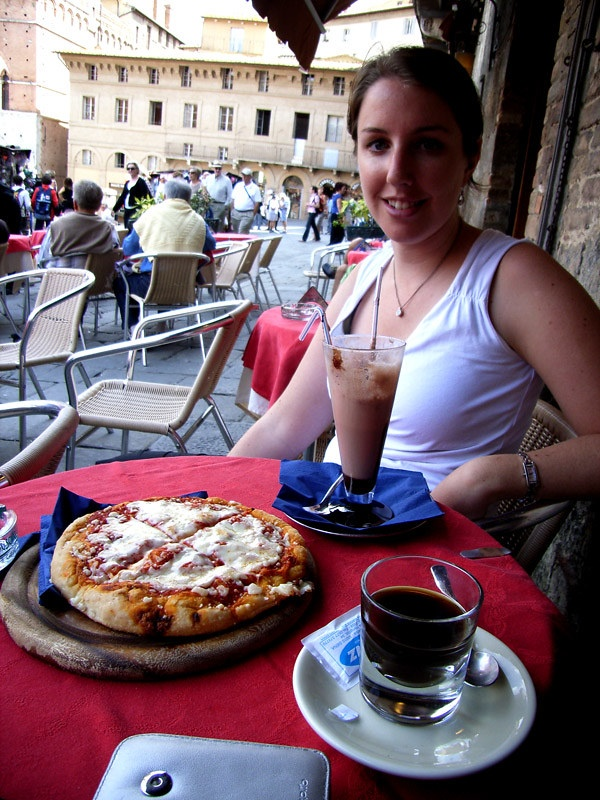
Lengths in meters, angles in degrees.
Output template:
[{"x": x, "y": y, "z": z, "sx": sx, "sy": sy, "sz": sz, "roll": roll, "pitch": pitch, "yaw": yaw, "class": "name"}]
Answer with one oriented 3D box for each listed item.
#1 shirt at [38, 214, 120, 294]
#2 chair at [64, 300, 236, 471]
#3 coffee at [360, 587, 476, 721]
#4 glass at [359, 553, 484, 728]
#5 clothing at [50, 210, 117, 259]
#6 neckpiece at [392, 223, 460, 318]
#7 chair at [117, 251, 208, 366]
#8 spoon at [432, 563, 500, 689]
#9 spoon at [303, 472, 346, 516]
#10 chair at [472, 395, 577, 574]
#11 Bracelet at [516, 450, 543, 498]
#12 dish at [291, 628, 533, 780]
[{"x": -2.114, "y": -1.490, "z": 5.604, "sx": 0.678, "sy": 0.747, "sz": 0.418, "roll": -7, "pitch": 45, "yaw": -26, "class": "shirt"}, {"x": -0.614, "y": -0.008, "z": 2.539, "sx": 0.709, "sy": 0.828, "sz": 0.645, "roll": 8, "pitch": 20, "yaw": 6, "class": "chair"}, {"x": 0.109, "y": 0.231, "z": 0.565, "sx": 0.098, "sy": 0.093, "sz": 0.112, "roll": 2, "pitch": 1, "yaw": 4, "class": "coffee"}, {"x": 0.103, "y": 0.230, "z": 0.588, "sx": 0.116, "sy": 0.125, "sz": 0.133, "roll": 3, "pitch": 11, "yaw": 5, "class": "glass"}, {"x": -2.000, "y": -1.524, "z": 5.374, "sx": 0.594, "sy": 0.402, "sz": 0.410, "roll": -4, "pitch": 18, "yaw": -22, "class": "clothing"}, {"x": 0.314, "y": -0.308, "z": 1.428, "sx": 0.135, "sy": 0.243, "sz": 0.038, "roll": 26, "pitch": 23, "yaw": 37, "class": "neckpiece"}, {"x": -1.264, "y": -0.812, "z": 5.247, "sx": 0.901, "sy": 1.017, "sz": 0.766, "roll": -4, "pitch": 16, "yaw": -30, "class": "chair"}, {"x": 0.162, "y": 0.216, "z": 0.590, "sx": 0.034, "sy": 0.020, "sz": 0.137, "roll": -2, "pitch": 36, "yaw": -9, "class": "spoon"}, {"x": 0.046, "y": 0.151, "z": 0.952, "sx": 0.030, "sy": 0.014, "sz": 0.099, "roll": 6, "pitch": 28, "yaw": 24, "class": "spoon"}, {"x": 0.580, "y": 0.179, "z": 1.467, "sx": 0.231, "sy": 0.189, "sz": 0.178, "roll": -31, "pitch": 44, "yaw": 16, "class": "chair"}, {"x": 0.429, "y": 0.138, "z": 1.074, "sx": 0.043, "sy": 0.066, "sz": 0.064, "roll": -11, "pitch": -16, "yaw": 7, "class": "Bracelet"}, {"x": 0.112, "y": 0.271, "z": 0.515, "sx": 0.228, "sy": 0.036, "sz": 0.161, "roll": -1, "pitch": 17, "yaw": -14, "class": "dish"}]
